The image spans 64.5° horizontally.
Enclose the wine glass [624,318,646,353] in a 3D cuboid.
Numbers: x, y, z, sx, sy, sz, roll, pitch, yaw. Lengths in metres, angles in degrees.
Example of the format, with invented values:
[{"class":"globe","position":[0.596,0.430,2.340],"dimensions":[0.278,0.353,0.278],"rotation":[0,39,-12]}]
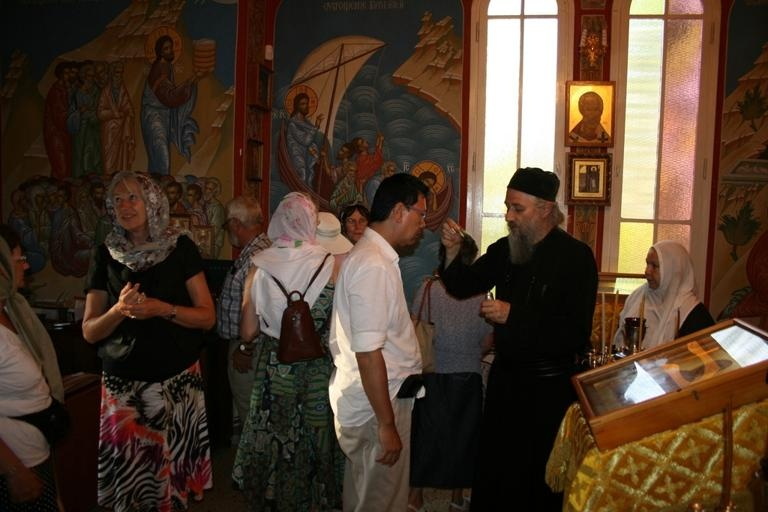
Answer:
[{"class":"wine glass","position":[1.541,0.482,3.753],"dimensions":[0.099,0.214,0.118],"rotation":[0,6,14]}]

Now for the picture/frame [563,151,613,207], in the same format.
[{"class":"picture/frame","position":[2.439,-0.918,7.222],"dimensions":[0.613,0.762,0.058],"rotation":[1,-1,2]}]

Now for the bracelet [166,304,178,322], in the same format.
[{"class":"bracelet","position":[-1.452,0.394,4.186],"dimensions":[0.065,0.099,0.091],"rotation":[-1,19,-23]}]

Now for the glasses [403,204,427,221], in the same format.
[{"class":"glasses","position":[0.198,-0.280,3.757],"dimensions":[0.091,0.029,0.090],"rotation":[22,4,18]}]

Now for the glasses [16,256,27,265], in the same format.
[{"class":"glasses","position":[-2.317,0.025,3.881],"dimensions":[0.037,0.024,0.049],"rotation":[-14,-26,-17]}]

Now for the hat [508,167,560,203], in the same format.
[{"class":"hat","position":[1.056,-0.496,4.281],"dimensions":[0.261,0.151,0.266],"rotation":[25,6,1]}]

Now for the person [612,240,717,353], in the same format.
[{"class":"person","position":[2.393,0.334,5.093],"dimensions":[0.488,0.887,0.857],"rotation":[6,0,-10]}]

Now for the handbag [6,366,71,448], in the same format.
[{"class":"handbag","position":[-2.129,0.996,3.763],"dimensions":[0.300,0.292,0.213],"rotation":[-3,3,-25]}]
